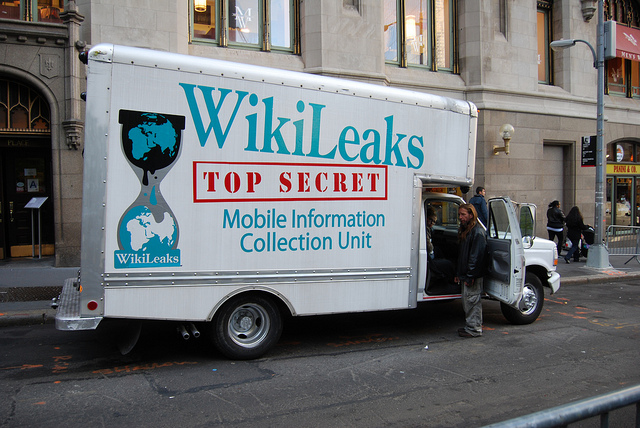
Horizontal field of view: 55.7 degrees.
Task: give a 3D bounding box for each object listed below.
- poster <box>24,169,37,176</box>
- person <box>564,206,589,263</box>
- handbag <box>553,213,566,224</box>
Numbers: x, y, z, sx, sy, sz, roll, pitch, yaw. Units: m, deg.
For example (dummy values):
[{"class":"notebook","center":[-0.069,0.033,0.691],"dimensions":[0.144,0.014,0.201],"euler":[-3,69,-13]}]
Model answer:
[{"class":"poster","center":[-8.212,-1.178,17.122],"dimensions":[0.298,0.188,0.024],"euler":[-5,13,-20]},{"class":"person","center":[8.308,0.696,19.693],"dimensions":[0.622,1.827,0.434],"euler":[-2,13,-8]},{"class":"handbag","center":[7.900,0.136,19.997],"dimensions":[0.239,0.181,0.136],"euler":[25,11,15]}]
